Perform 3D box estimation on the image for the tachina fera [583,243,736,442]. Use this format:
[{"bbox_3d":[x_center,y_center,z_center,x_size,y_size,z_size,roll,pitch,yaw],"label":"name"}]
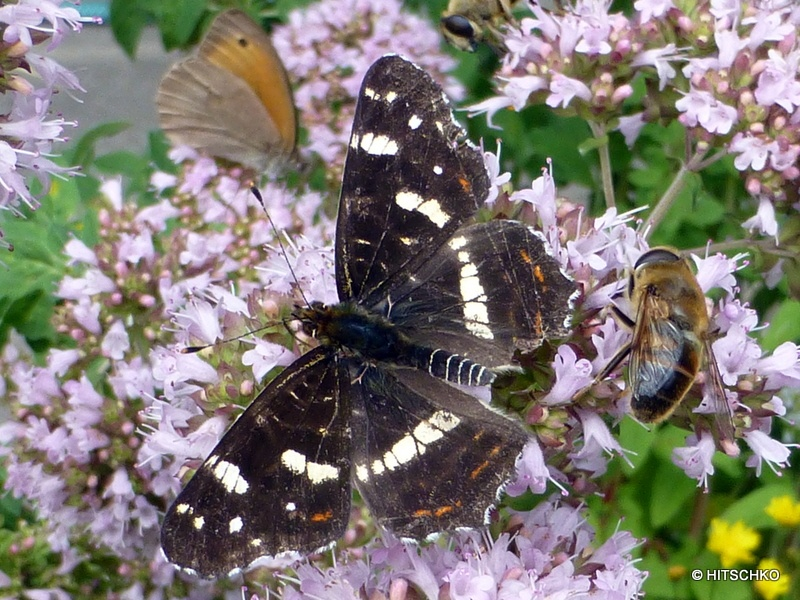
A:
[{"bbox_3d":[0.805,0.127,3.592,0.446,0.659,0.582,-2,96,-1],"label":"tachina fera"}]
